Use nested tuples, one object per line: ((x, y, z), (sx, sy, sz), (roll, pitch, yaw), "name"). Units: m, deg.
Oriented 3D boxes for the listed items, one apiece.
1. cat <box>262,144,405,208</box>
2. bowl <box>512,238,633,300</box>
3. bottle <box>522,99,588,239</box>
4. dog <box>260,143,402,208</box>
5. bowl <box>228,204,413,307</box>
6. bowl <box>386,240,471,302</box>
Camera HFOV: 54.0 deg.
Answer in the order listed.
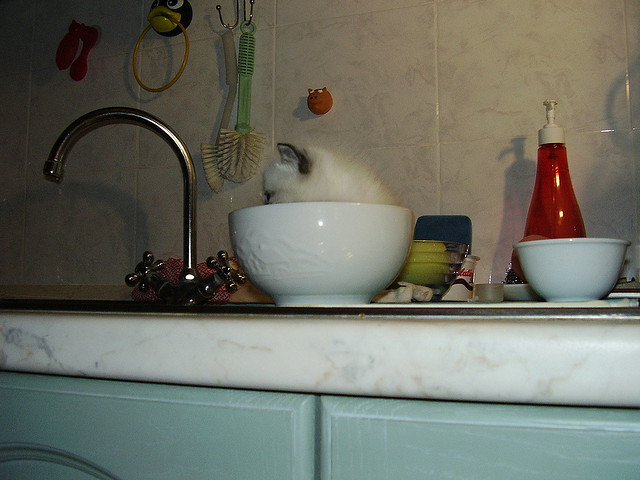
((0.018, -0.079, 0.865), (0.186, 0.088, 0.090), (-7, 9, -2), "cat")
((0.328, 0.055, 0.797), (0.095, 0.049, 0.098), (-1, -8, 0), "bowl")
((0.434, -0.130, 1.172), (0.119, 0.251, 0.103), (4, 10, 39), "bottle")
((0.007, -0.083, 0.865), (0.212, 0.098, 0.104), (-9, 18, -15), "dog")
((0.004, 0.021, 0.905), (0.279, 0.144, 0.291), (-1, 1, 0), "bowl")
((0.153, 0.042, 0.924), (0.092, 0.063, 0.094), (8, -6, 1), "bowl")
